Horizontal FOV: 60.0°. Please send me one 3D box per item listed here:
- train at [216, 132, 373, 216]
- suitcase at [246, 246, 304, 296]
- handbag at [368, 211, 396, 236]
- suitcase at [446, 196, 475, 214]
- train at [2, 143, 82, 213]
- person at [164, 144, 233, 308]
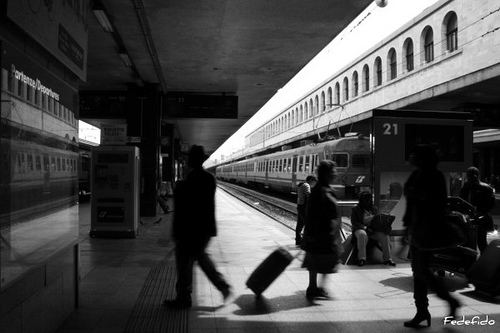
[{"bbox_3d":[0.699,0.337,35.557,1.592,2.784,30.819,-1,-2,-16],"label":"train"},{"bbox_3d":[0.297,1.647,6.865,0.577,0.605,0.818,-23,-4,38],"label":"suitcase"},{"bbox_3d":[2.699,1.144,8.845,0.540,0.544,0.153,8,18,9],"label":"handbag"},{"bbox_3d":[3.997,0.748,8.209,0.440,0.111,0.436,28,7,17],"label":"suitcase"},{"bbox_3d":[-2.506,0.116,5.085,0.221,0.736,1.214,1,1,16],"label":"train"},{"bbox_3d":[-0.808,0.874,6.475,0.916,2.372,0.463,1,1,-10],"label":"person"}]
